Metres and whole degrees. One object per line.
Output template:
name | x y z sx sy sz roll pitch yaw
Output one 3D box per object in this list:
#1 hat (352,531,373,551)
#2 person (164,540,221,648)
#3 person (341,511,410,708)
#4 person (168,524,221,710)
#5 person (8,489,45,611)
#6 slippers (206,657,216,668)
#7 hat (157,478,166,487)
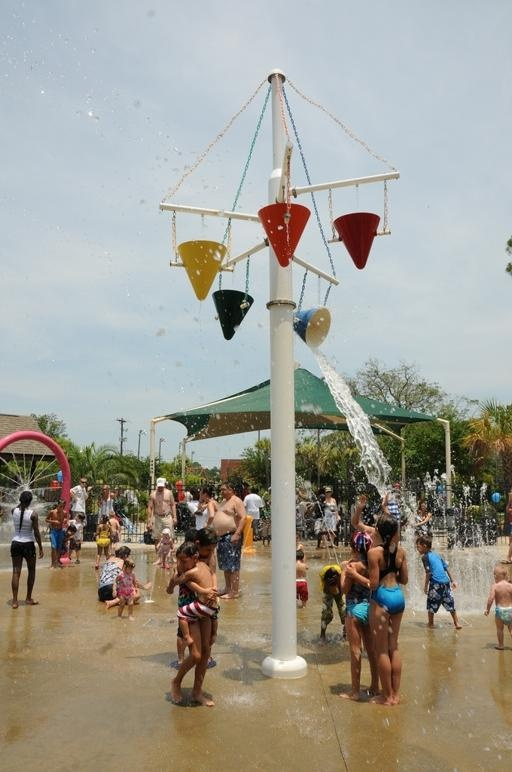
hat | 0.783 1.135 5.379 0.101 0.136 0.148 -1 1 1
person | -0.435 1.385 4.979 0.329 0.798 0.252 -2 0 -16
person | 0.841 1.483 4.947 0.421 1.209 0.476 1 -8 -9
person | -0.433 1.544 5.018 0.337 1.095 0.519 1 -8 -5
person | -2.753 1.934 8.808 0.366 1.307 0.374 5 -10 -36
slippers | -0.346 2.165 5.774 0.043 0.053 0.131 -3 -30 3
hat | -1.624 1.653 12.553 0.111 0.096 0.180 0 6 1
